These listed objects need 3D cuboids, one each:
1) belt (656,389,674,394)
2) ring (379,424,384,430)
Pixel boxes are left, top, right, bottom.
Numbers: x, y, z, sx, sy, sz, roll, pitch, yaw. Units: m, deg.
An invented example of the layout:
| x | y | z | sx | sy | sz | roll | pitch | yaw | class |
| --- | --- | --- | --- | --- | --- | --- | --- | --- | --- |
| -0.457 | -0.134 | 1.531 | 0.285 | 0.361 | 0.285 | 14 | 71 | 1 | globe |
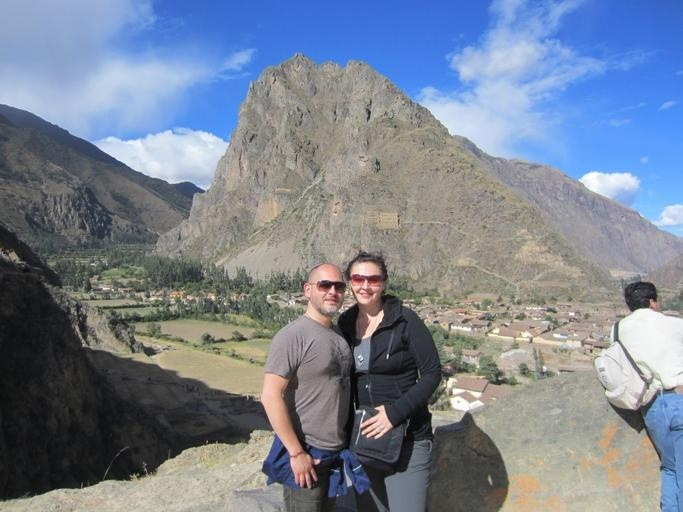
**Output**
| x | y | z | sx | sy | sz | roll | pitch | yaw | class |
| --- | --- | --- | --- | --- | --- | --- | --- | --- | --- |
| 5.350 | 2.229 | 7.948 | 0.097 | 0.044 | 0.141 | 0 | -5 | 1 | belt |
| 0.641 | 2.740 | 7.736 | 0.059 | 0.057 | 0.016 | 12 | 10 | 12 | ring |
